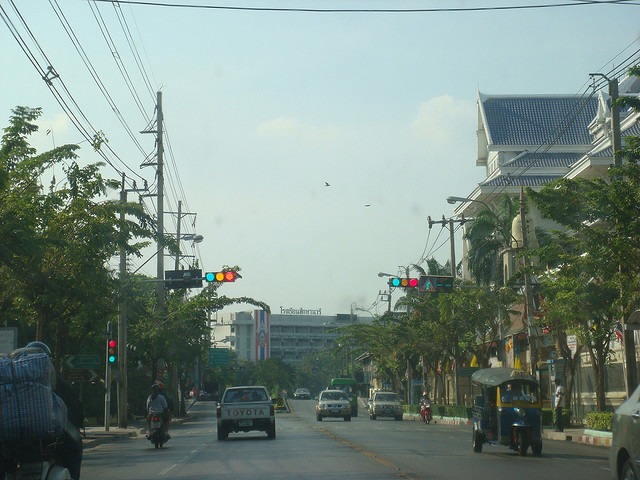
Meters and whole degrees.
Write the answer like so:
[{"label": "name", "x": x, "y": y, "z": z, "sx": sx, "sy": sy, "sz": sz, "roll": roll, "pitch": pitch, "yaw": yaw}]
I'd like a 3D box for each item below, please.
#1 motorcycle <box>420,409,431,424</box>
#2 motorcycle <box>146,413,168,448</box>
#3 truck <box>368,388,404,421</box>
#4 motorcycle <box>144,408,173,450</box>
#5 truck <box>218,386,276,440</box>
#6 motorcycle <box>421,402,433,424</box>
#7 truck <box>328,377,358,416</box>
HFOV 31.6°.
[{"label": "motorcycle", "x": 6.124, "y": 10.085, "z": 64.280, "sx": 0.414, "sy": 0.845, "sz": 1.525, "roll": 2, "pitch": -17, "yaw": -3}, {"label": "motorcycle", "x": -6.016, "y": 7.103, "z": 42.118, "sx": 0.590, "sy": 1.207, "sz": 0.598, "roll": 4, "pitch": -14, "yaw": -12}, {"label": "truck", "x": 4.082, "y": 10.261, "z": 70.592, "sx": 1.125, "sy": 1.345, "sz": 2.466, "roll": 0, "pitch": -16, "yaw": -5}, {"label": "motorcycle", "x": -6.116, "y": 7.108, "z": 42.768, "sx": 0.688, "sy": 1.215, "sz": 1.710, "roll": -1, "pitch": -6, "yaw": 0}, {"label": "truck", "x": -2.932, "y": 6.779, "z": 45.024, "sx": 2.202, "sy": 2.030, "sz": 0.706, "roll": 3, "pitch": -13, "yaw": -6}, {"label": "motorcycle", "x": 6.165, "y": 9.882, "z": 64.459, "sx": 0.484, "sy": 1.391, "sz": 1.790, "roll": 0, "pitch": -17, "yaw": 4}, {"label": "truck", "x": 1.691, "y": 10.744, "z": 77.531, "sx": 1.966, "sy": 3.622, "sz": 6.470, "roll": 0, "pitch": -11, "yaw": 1}]
